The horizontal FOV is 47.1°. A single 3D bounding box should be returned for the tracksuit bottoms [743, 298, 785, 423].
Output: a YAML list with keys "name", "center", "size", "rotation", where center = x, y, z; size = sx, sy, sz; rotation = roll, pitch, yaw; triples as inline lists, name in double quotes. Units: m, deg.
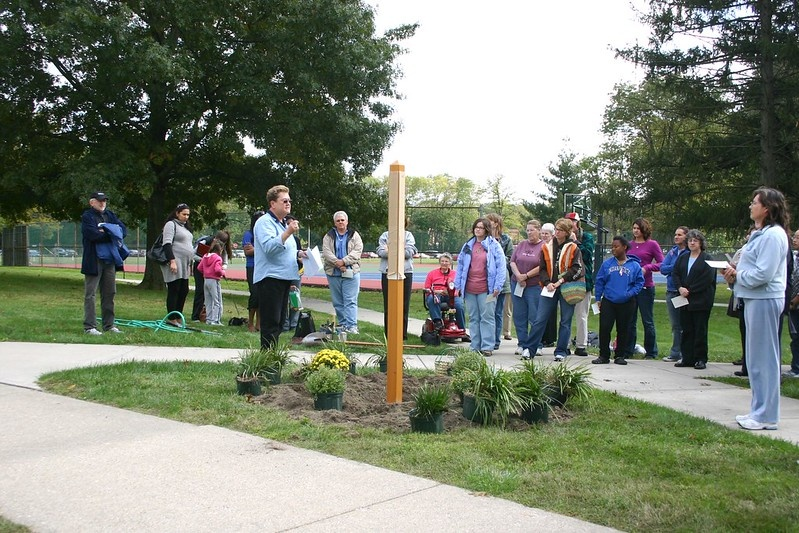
- name: "tracksuit bottoms"
  center: [5.506, 1.439, 13.921]
  size: [0.556, 1.923, 0.295]
  rotation: [3, -3, 13]

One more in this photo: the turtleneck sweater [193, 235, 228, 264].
- name: "turtleneck sweater"
  center: [-4.222, -0.349, 20.651]
  size: [0.625, 0.329, 0.354]
  rotation: [-5, -19, 32]

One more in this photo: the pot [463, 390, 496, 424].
- name: "pot"
  center: [1.219, 2.160, 13.895]
  size: [0.431, 0.299, 0.424]
  rotation: [1, -6, 0]

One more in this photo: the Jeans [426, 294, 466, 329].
- name: "Jeans"
  center: [1.006, 0.896, 19.536]
  size: [0.648, 0.877, 0.787]
  rotation: [4, -20, -8]

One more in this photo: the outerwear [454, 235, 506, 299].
- name: "outerwear"
  center: [1.595, -0.079, 17.866]
  size: [1.002, 1.106, 0.550]
  rotation: [1, 9, 24]

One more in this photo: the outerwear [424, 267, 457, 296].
- name: "outerwear"
  center: [0.892, 0.309, 19.793]
  size: [0.725, 0.585, 0.426]
  rotation: [2, -16, -1]

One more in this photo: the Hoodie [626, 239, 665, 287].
- name: "Hoodie"
  center: [4.907, -0.055, 18.617]
  size: [0.552, 0.963, 0.953]
  rotation: [-4, 7, -41]

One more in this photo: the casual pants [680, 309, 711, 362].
- name: "casual pants"
  center: [5.641, 1.166, 17.392]
  size: [0.428, 1.351, 0.592]
  rotation: [-1, 10, -1]

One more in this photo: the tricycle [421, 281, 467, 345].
- name: "tricycle"
  center: [1.052, 0.972, 19.471]
  size: [0.913, 1.367, 1.330]
  rotation: [-2, 8, -18]

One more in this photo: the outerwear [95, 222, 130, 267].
- name: "outerwear"
  center: [-5.546, -0.443, 17.885]
  size: [0.386, 0.767, 0.527]
  rotation: [-9, 2, 26]

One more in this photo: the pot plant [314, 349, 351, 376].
- name: "pot plant"
  center: [-1.099, 1.527, 14.635]
  size: [0.614, 0.368, 0.969]
  rotation: [4, -4, -6]

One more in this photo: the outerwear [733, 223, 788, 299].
- name: "outerwear"
  center: [5.748, 0.194, 14.512]
  size: [0.907, 1.434, 1.529]
  rotation: [3, -3, 19]

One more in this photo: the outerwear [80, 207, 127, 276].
- name: "outerwear"
  center: [-5.736, -0.441, 17.768]
  size: [0.810, 1.306, 0.466]
  rotation: [5, -3, -21]

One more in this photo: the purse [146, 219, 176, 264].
- name: "purse"
  center: [-5.080, -0.373, 19.460]
  size: [0.566, 0.994, 0.947]
  rotation: [10, -12, -18]

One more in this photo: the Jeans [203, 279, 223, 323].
- name: "Jeans"
  center: [-4.122, 0.805, 20.290]
  size: [0.434, 0.995, 0.456]
  rotation: [4, -3, -17]

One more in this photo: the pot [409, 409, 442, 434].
- name: "pot"
  center: [0.398, 2.292, 13.511]
  size: [0.354, 0.217, 0.348]
  rotation: [0, -8, 0]

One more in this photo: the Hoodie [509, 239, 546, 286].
- name: "Hoodie"
  center: [2.555, -0.048, 18.061]
  size: [0.442, 0.803, 0.818]
  rotation: [17, -15, -38]

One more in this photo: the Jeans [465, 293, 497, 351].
- name: "Jeans"
  center: [1.541, 1.101, 17.753]
  size: [0.551, 1.128, 0.301]
  rotation: [2, -3, 22]

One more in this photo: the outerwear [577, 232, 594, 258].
- name: "outerwear"
  center: [3.761, -0.448, 18.366]
  size: [0.409, 0.554, 0.196]
  rotation: [0, -7, -11]

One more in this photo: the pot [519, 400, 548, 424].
- name: "pot"
  center: [2.066, 2.225, 13.867]
  size: [0.341, 0.253, 0.343]
  rotation: [-2, -1, 0]

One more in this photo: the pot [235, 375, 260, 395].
- name: "pot"
  center: [-2.355, 1.883, 14.407]
  size: [0.276, 0.171, 0.284]
  rotation: [0, -5, 0]

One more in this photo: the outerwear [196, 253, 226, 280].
- name: "outerwear"
  center: [-4.092, 0.063, 20.329]
  size: [0.769, 0.733, 0.523]
  rotation: [0, -11, 2]

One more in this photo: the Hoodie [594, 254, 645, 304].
- name: "Hoodie"
  center: [4.235, 0.241, 17.639]
  size: [0.961, 0.910, 0.613]
  rotation: [8, 14, 22]

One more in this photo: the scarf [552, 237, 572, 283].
- name: "scarf"
  center: [3.083, -0.137, 17.392]
  size: [0.172, 0.663, 0.385]
  rotation: [13, -5, -13]
